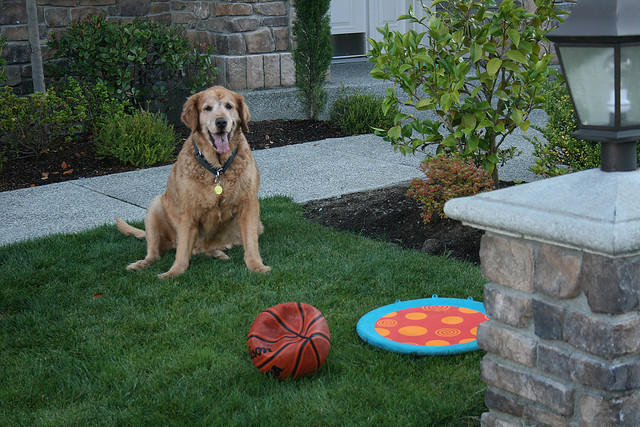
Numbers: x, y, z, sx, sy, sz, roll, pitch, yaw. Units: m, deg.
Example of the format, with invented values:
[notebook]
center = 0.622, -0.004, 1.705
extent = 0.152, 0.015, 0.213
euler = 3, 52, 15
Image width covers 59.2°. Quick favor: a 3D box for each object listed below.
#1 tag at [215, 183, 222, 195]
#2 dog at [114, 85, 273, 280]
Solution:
[tag]
center = -0.984, -0.234, 5.441
extent = 0.068, 0.090, 0.027
euler = -5, 10, -11
[dog]
center = -1.481, -0.389, 6.085
extent = 1.465, 1.778, 2.479
euler = -8, 14, -39
